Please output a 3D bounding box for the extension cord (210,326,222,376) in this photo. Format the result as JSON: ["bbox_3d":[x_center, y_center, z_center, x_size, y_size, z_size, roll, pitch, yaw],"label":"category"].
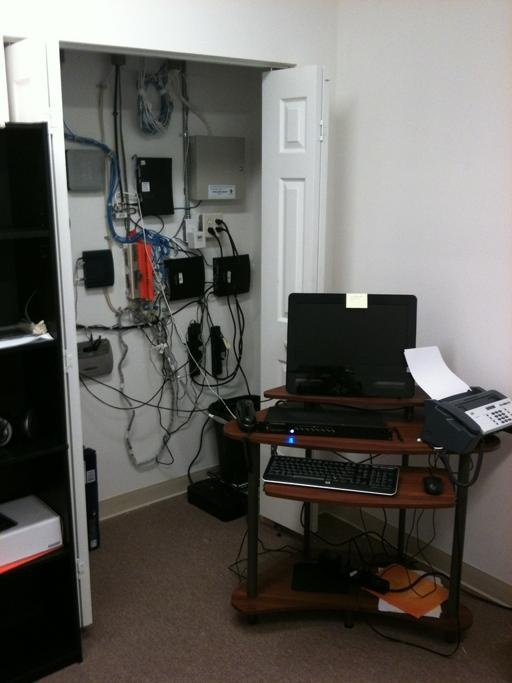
[{"bbox_3d":[-0.214,0.061,3.270,0.086,0.306,0.065,0,-28,-10],"label":"extension cord"}]

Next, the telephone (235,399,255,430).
[{"bbox_3d":[-0.030,0.252,1.997,0.035,0.047,0.124,-2,15,-3],"label":"telephone"}]

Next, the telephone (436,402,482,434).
[{"bbox_3d":[0.601,0.217,1.725,0.046,0.043,0.200,-22,26,-6],"label":"telephone"}]

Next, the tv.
[{"bbox_3d":[0.346,0.020,1.989,0.320,0.303,0.034,1,-1,6],"label":"tv"}]

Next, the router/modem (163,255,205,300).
[{"bbox_3d":[-0.367,-0.335,3.025,0.197,0.237,0.049,5,11,26],"label":"router/modem"}]

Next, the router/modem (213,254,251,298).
[{"bbox_3d":[-0.139,-0.364,3.223,0.247,0.239,0.084,-10,14,-43],"label":"router/modem"}]

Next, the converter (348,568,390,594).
[{"bbox_3d":[0.422,0.885,2.132,0.102,0.042,0.067,6,7,42],"label":"converter"}]

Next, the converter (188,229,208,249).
[{"bbox_3d":[-0.316,-0.540,3.013,0.114,0.097,0.044,-9,13,-40],"label":"converter"}]
